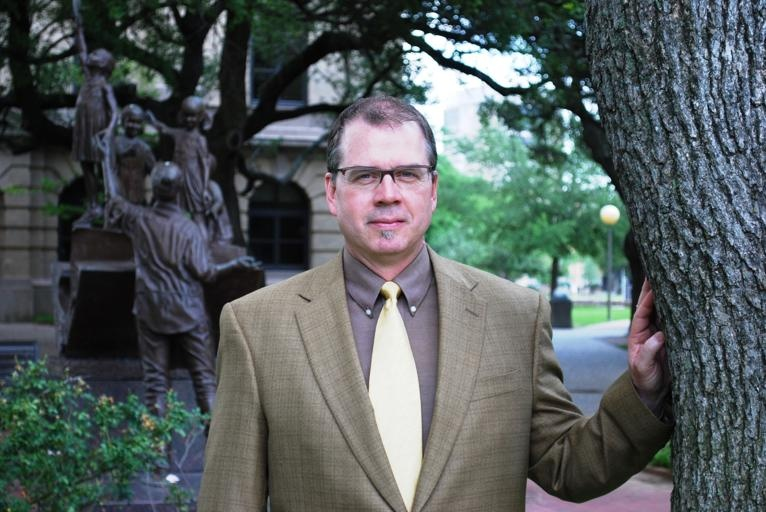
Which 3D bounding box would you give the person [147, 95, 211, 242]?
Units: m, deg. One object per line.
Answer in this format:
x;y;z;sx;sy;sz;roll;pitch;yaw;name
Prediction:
-1.594;-0.581;10.749;0.527;1.273;0.249;3;10;-4;person

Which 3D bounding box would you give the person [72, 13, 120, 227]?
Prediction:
-2.175;-0.940;10.495;0.328;1.453;0.099;1;-3;-17;person
